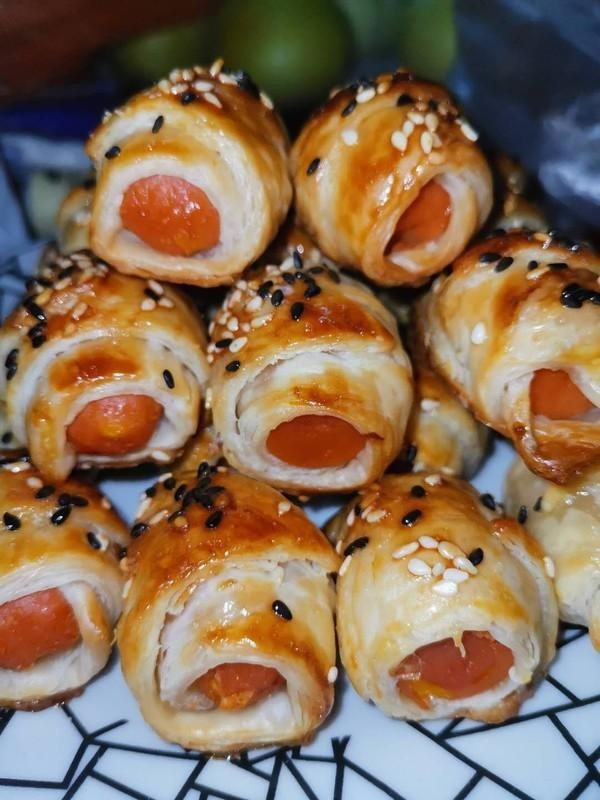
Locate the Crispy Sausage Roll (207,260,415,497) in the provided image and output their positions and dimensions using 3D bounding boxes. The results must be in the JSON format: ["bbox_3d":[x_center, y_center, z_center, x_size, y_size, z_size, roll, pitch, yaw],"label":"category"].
[{"bbox_3d":[0.038,0.025,2.363,0.550,0.252,0.694,0,13,-2],"label":"Crispy Sausage Roll"}]
